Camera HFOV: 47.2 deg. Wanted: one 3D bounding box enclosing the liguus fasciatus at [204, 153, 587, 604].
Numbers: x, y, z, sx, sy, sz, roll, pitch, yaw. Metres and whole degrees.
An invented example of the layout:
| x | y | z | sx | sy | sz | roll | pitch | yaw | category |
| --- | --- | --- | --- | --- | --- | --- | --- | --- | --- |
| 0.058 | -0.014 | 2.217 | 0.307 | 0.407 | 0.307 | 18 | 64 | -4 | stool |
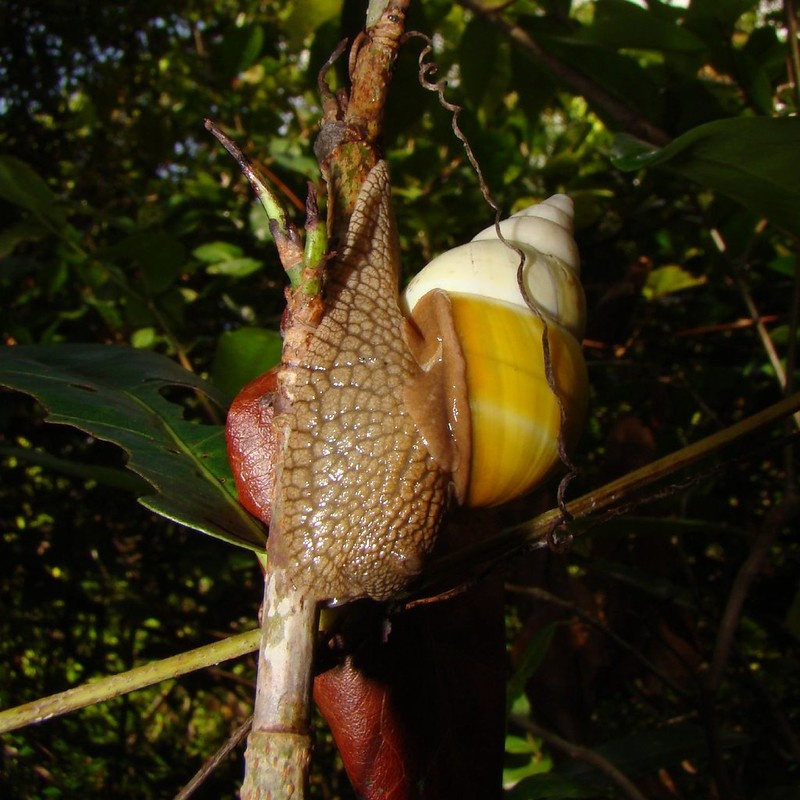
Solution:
| x | y | z | sx | sy | sz | roll | pitch | yaw | category |
| --- | --- | --- | --- | --- | --- | --- | --- | --- | --- |
| 0.023 | -0.006 | 0.578 | 0.203 | 0.256 | 0.105 | 2 | -15 | 0 | liguus fasciatus |
